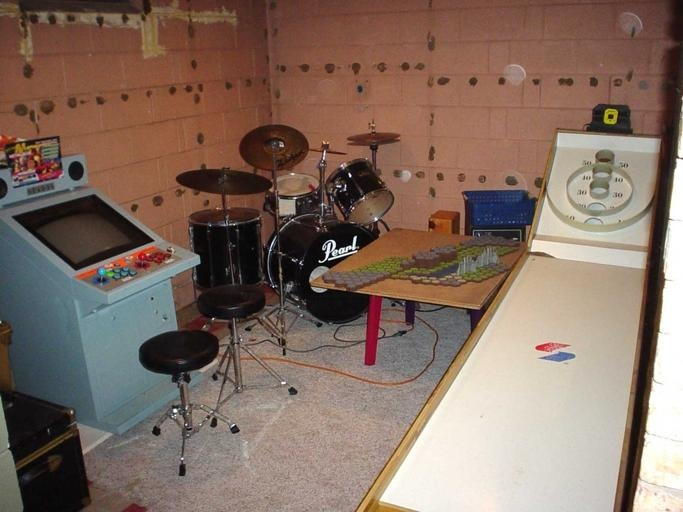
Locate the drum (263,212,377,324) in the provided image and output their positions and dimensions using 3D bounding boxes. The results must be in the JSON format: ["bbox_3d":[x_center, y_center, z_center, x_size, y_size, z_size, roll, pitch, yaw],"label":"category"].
[{"bbox_3d":[-0.365,0.090,4.635,0.488,0.795,0.797,7,9,-14],"label":"drum"}]

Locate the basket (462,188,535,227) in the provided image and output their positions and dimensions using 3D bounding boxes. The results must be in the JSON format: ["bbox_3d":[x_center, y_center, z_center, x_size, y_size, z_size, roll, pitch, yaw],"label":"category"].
[{"bbox_3d":[1.450,-0.467,4.904,0.598,0.245,0.678,3,23,7],"label":"basket"}]

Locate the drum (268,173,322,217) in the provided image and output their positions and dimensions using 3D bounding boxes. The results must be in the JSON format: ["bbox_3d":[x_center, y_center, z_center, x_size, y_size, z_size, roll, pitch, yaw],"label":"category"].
[{"bbox_3d":[-0.467,-0.559,4.907,0.513,0.227,0.511,0,32,0],"label":"drum"}]

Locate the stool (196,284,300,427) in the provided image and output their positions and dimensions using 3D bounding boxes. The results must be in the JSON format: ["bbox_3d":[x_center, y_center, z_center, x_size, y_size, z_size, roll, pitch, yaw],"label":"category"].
[{"bbox_3d":[-0.800,0.630,3.667,0.636,0.840,0.698,8,16,30],"label":"stool"}]

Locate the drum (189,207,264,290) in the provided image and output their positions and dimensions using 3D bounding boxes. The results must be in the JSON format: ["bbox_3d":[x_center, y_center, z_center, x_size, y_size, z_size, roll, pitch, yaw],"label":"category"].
[{"bbox_3d":[-1.062,-0.003,4.794,0.649,0.689,0.672,-6,16,-17],"label":"drum"}]

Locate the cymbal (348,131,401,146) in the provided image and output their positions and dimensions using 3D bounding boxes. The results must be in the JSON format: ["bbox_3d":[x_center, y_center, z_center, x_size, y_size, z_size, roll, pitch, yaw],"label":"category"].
[{"bbox_3d":[0.334,-1.169,5.235,0.322,0.089,0.319,-14,22,-37],"label":"cymbal"}]

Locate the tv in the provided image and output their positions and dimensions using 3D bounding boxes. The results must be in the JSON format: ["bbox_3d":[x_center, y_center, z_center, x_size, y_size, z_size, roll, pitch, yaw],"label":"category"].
[{"bbox_3d":[-1.548,-0.171,3.222,0.460,0.281,0.578,11,26,24],"label":"tv"}]

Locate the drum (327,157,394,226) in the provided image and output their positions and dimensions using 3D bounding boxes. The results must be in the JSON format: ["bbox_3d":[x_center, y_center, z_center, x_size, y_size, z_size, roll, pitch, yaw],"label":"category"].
[{"bbox_3d":[0.192,-0.543,4.865,0.377,0.716,0.581,20,30,38],"label":"drum"}]

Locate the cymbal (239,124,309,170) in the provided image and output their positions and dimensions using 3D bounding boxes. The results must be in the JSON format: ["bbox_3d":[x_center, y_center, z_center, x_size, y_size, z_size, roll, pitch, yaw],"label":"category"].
[{"bbox_3d":[-0.484,-0.850,4.210,0.417,0.389,0.512,20,30,38],"label":"cymbal"}]

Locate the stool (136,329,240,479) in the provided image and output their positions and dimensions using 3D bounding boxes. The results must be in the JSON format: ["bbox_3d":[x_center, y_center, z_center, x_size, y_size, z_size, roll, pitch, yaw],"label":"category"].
[{"bbox_3d":[-0.883,0.806,3.067,0.374,0.527,0.382,1,10,38],"label":"stool"}]
